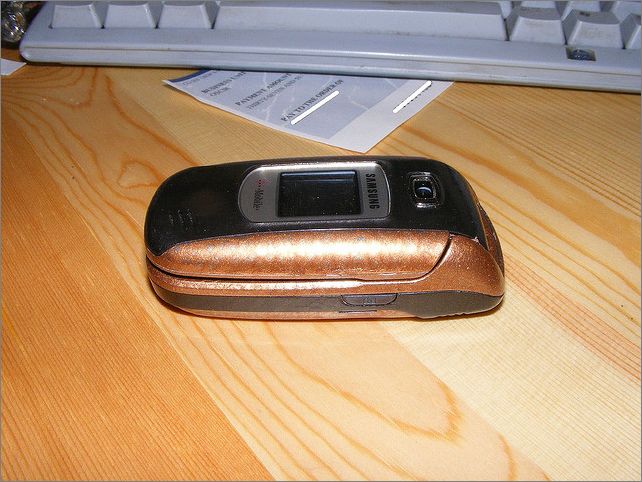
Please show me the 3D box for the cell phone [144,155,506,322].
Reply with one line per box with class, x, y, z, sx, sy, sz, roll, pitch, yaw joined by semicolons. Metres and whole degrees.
cell phone;0.003;0.003;0.452;0.272;0.077;0.121;-1;49;-1
